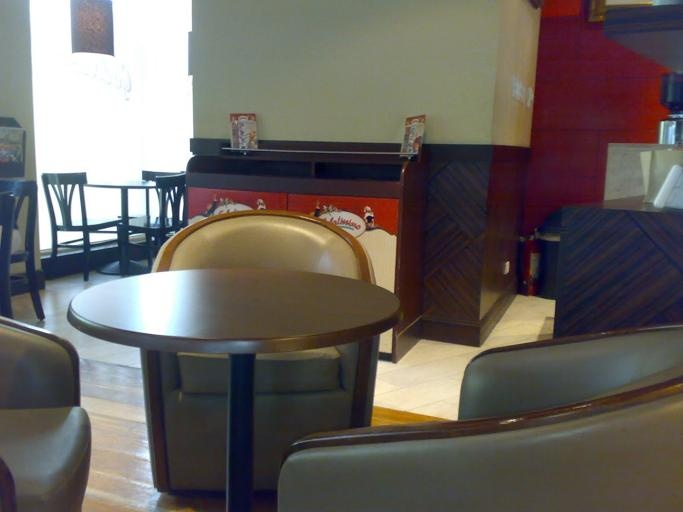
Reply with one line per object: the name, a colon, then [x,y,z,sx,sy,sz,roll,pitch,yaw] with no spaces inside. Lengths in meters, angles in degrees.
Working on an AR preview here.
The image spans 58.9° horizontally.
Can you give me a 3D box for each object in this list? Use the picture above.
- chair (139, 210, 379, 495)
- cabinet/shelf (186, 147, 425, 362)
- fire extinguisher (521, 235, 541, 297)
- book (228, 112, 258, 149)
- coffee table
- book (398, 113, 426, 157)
chair: [-0.352,0.378,2.515,0.957,1.030,0.956,-3,14,-33]
cabinet/shelf: [-0.112,-0.025,2.736,1.126,1.197,0.424,3,8,19]
fire extinguisher: [1.623,0.085,5.240,0.169,0.535,0.074,7,10,22]
book: [-0.684,-0.829,4.245,0.197,0.277,0.143,-3,-12,-5]
coffee table: [-0.344,0.318,1.851,0.790,0.631,0.841,1,12,-4]
book: [0.445,-0.750,3.798,0.144,0.270,0.232,5,10,6]
